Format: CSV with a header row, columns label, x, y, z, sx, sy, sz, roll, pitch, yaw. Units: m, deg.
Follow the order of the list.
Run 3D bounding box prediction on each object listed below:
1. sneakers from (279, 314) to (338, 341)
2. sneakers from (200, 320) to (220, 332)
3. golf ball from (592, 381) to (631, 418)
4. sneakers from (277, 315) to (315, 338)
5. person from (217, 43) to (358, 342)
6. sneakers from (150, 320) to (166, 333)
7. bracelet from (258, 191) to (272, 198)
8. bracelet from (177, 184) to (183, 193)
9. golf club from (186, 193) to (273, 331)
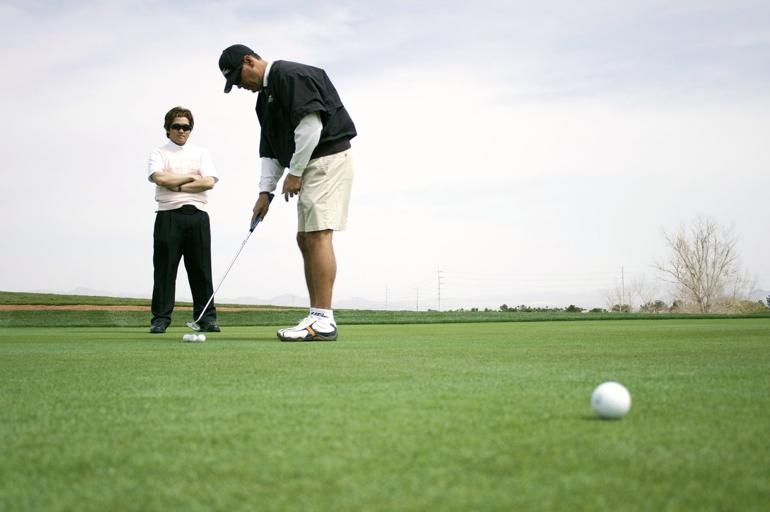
label,x,y,z,sx,sy,sz,roll,pitch,yaw
sneakers,-0.564,0.542,4.946,0.457,0.212,0.175,4,-9,-18
sneakers,-1.678,0.677,6.328,0.210,0.092,0.079,-2,0,38
golf ball,0.885,0.561,2.584,0.158,0.128,0.142,1,-2,11
sneakers,-0.663,0.540,4.978,0.347,0.154,0.122,-5,5,-45
person,-0.713,-0.542,5.222,0.996,2.340,0.684,0,-2,29
sneakers,-2.099,0.657,6.120,0.080,0.090,0.221,1,-11,-10
bracelet,-1.035,-0.530,5.712,0.100,0.035,0.042,-1,-9,2
bracelet,-1.975,-0.647,6.369,0.053,0.076,0.042,3,4,7
golf club,-1.579,0.131,6.214,0.271,1.514,0.204,27,-8,13
